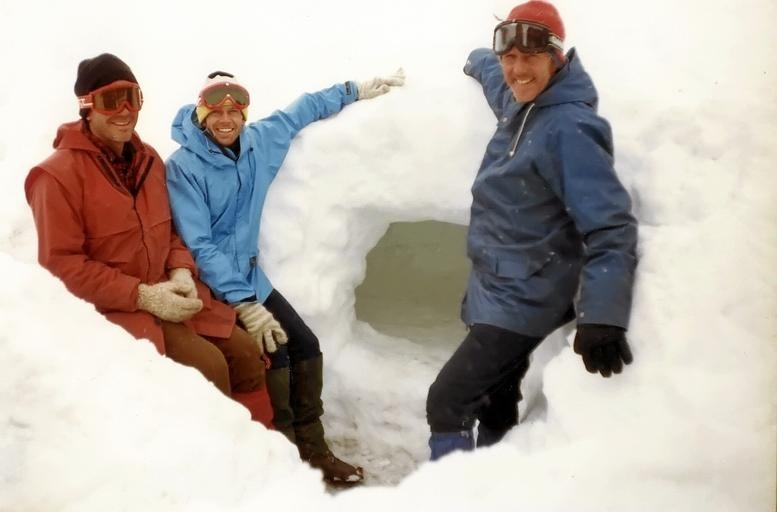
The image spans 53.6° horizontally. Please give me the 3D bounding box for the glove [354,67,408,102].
[{"bbox_3d":[-0.042,-0.932,4.179,0.252,0.144,0.096,-29,-22,10],"label":"glove"}]

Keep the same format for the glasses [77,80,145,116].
[{"bbox_3d":[-1.255,-0.721,3.521,0.182,0.096,0.203,-20,23,-40],"label":"glasses"}]

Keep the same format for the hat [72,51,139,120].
[{"bbox_3d":[-1.318,-0.751,3.652,0.290,0.163,0.339,-11,20,-29],"label":"hat"}]

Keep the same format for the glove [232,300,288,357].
[{"bbox_3d":[-0.621,0.360,3.823,0.183,0.300,0.081,-34,-2,-13],"label":"glove"}]

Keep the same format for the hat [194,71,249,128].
[{"bbox_3d":[-0.822,-0.765,3.776,0.207,0.113,0.277,-1,-14,-23],"label":"hat"}]

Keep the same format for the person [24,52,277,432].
[{"bbox_3d":[-1.051,0.104,3.707,1.142,2.057,0.836,7,16,28],"label":"person"}]

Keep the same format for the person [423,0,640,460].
[{"bbox_3d":[0.636,-0.141,3.477,0.919,1.892,0.749,0,20,18],"label":"person"}]

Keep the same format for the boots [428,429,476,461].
[{"bbox_3d":[0.300,0.884,3.642,0.228,0.211,0.144,2,-1,1],"label":"boots"}]
